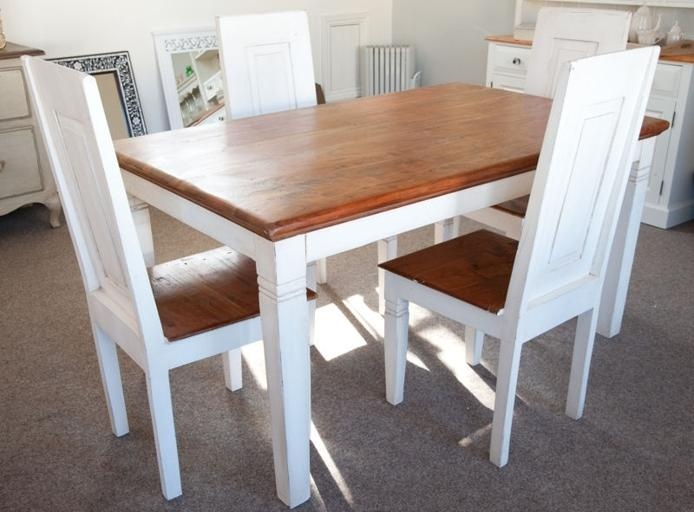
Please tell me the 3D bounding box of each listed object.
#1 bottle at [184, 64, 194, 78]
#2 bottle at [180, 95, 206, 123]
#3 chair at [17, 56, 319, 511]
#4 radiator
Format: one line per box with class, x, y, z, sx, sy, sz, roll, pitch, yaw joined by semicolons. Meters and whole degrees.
bottle;-1.255;-1.451;4.073;0.013;0.122;0.092;7;14;41
bottle;-1.240;-1.171;4.102;0.185;0.209;0.029;-21;37;-19
chair;-0.522;0.034;1.559;0.488;1.193;0.541;-21;34;-29
radiator;0.397;-1.870;4.958;0.443;0.454;0.223;3;57;6
